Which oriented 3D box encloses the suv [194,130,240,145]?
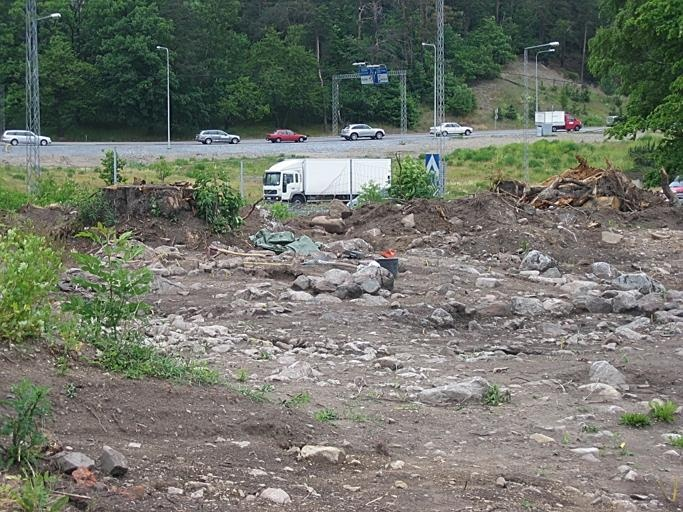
[{"bbox_3d":[-8.658,-8.163,74.949,2.841,0.985,1.284,-5,12,-18],"label":"suv"}]

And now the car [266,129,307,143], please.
[{"bbox_3d":[-3.898,-8.456,77.136,2.482,0.851,1.175,-4,11,-12],"label":"car"}]

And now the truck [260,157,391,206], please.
[{"bbox_3d":[-0.560,-3.453,44.979,6.038,2.425,2.232,0,2,-11],"label":"truck"}]

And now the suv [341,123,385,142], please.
[{"bbox_3d":[1.599,-9.042,79.420,2.920,1.117,1.376,-3,11,-8],"label":"suv"}]
